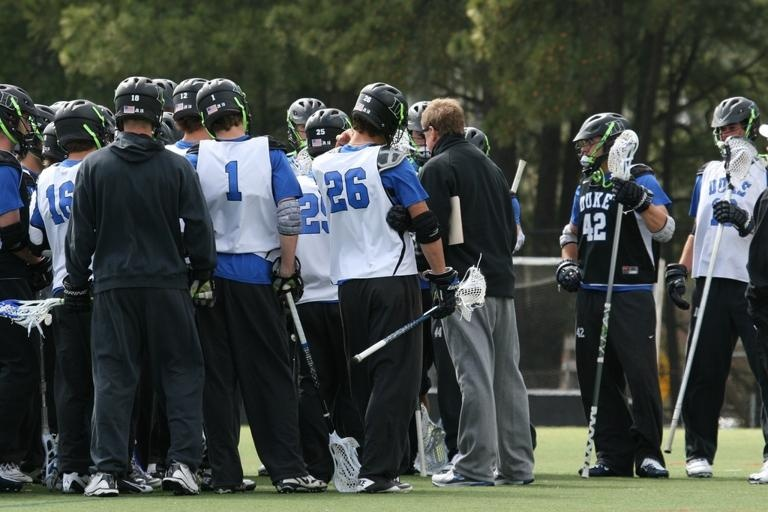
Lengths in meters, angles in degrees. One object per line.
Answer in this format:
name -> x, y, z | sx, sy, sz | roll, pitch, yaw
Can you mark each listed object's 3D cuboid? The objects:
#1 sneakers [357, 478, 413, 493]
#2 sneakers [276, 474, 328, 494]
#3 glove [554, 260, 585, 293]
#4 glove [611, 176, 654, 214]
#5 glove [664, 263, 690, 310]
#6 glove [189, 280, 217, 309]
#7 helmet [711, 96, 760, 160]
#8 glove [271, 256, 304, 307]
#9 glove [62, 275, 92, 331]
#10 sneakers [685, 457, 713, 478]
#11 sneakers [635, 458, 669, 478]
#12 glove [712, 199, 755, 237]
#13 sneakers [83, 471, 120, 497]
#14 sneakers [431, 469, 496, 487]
sneakers -> 0.001, 2.332, 14.363 | 0.536, 0.215, 0.194 | -2, -5, -6
sneakers -> -0.860, 2.347, 14.432 | 0.530, 0.247, 0.189 | -2, -3, -15
glove -> 2.126, 0.251, 16.090 | 0.348, 0.338, 0.278 | -13, -16, -37
glove -> 2.693, -0.676, 15.470 | 0.411, 0.161, 0.318 | 31, 7, 34
glove -> 3.373, 0.357, 16.073 | 0.365, 0.526, 0.248 | -3, -5, 43
glove -> -1.852, 0.392, 14.269 | 0.197, 0.274, 0.097 | 1, 2, -2
helmet -> 3.870, -1.526, 16.033 | 0.615, 0.584, 0.488 | 0, -5, -32
glove -> -1.022, 0.278, 14.580 | 0.319, 0.458, 0.193 | -5, -5, -17
glove -> -3.174, 0.500, 14.592 | 0.476, 0.491, 0.194 | 2, 12, -5
sneakers -> 3.475, 2.356, 15.581 | 0.268, 0.201, 0.261 | -4, -4, 9
sneakers -> 2.957, 2.361, 15.532 | 0.163, 0.152, 0.347 | 9, -20, -17
glove -> 3.701, -0.433, 15.493 | 0.654, 0.301, 0.487 | 1, 12, -35
sneakers -> -2.827, 2.309, 14.082 | 0.166, 0.215, 0.427 | 3, -3, -36
sneakers -> 0.815, 2.345, 14.775 | 0.680, 0.272, 0.233 | 4, -6, 5
